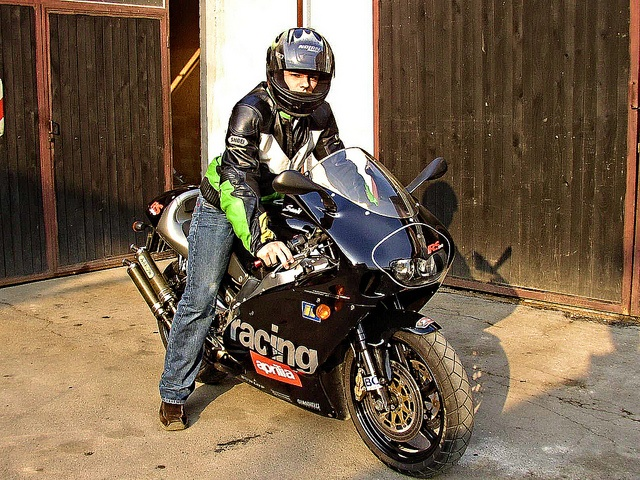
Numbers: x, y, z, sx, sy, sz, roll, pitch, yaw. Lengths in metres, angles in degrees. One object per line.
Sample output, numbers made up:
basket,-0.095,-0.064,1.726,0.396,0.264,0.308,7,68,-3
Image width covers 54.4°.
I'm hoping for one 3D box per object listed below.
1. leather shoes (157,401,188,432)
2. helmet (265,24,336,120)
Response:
leather shoes,-1.010,1.221,4.335,0.114,0.169,0.228,1,0,-32
helmet,-0.129,-1.132,4.091,0.403,0.561,0.520,-3,29,-25
